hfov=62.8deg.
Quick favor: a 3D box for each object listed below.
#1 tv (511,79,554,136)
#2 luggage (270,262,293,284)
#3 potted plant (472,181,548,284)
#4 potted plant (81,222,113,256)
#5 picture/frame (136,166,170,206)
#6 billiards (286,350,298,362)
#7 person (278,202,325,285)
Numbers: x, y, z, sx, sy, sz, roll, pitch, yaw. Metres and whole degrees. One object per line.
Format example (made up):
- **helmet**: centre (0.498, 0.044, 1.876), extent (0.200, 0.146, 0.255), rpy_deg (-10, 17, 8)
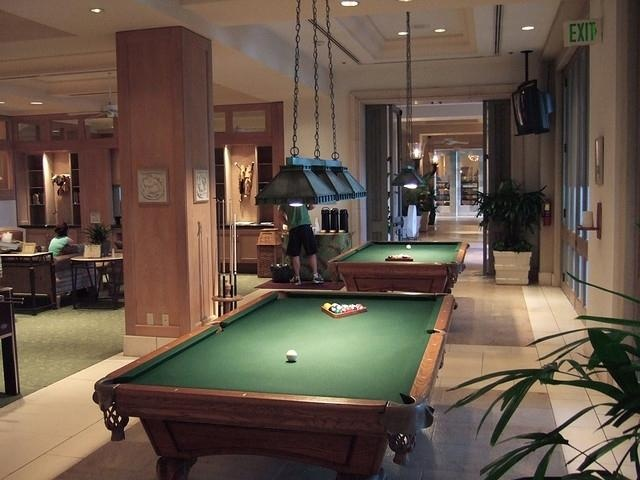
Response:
- **tv**: centre (3.478, -2.181, 8.642), extent (0.574, 0.835, 0.497), rpy_deg (0, 9, 20)
- **luggage**: centre (-0.696, 0.613, 9.613), extent (0.500, 0.385, 0.284), rpy_deg (1, 10, 2)
- **potted plant**: centre (3.537, -0.168, 9.682), extent (1.138, 1.883, 0.781), rpy_deg (1, 9, 27)
- **potted plant**: centre (-4.001, -0.028, 9.512), extent (0.564, 0.693, 0.586), rpy_deg (6, 8, 37)
- **picture/frame**: centre (-1.899, -0.629, 6.024), extent (0.440, 0.466, 0.060), rpy_deg (0, 0, 15)
- **billiards**: centre (-0.165, 0.683, 3.116), extent (0.058, 0.054, 0.060), rpy_deg (-1, 18, 14)
- **person**: centre (-0.310, 0.088, 9.180), extent (0.628, 1.434, 0.809), rpy_deg (-2, 8, 4)
